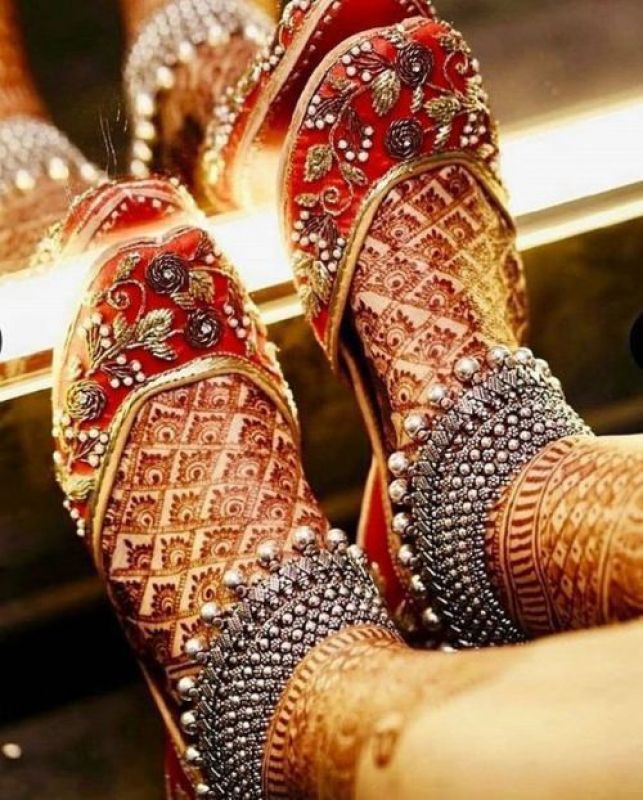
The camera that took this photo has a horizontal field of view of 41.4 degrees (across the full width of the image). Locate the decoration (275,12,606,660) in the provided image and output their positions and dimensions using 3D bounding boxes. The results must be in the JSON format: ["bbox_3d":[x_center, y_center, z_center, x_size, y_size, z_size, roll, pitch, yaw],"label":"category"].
[{"bbox_3d":[0.149,-0.038,0.811,0.268,0.606,0.220,-11,10,-3],"label":"decoration"}]
